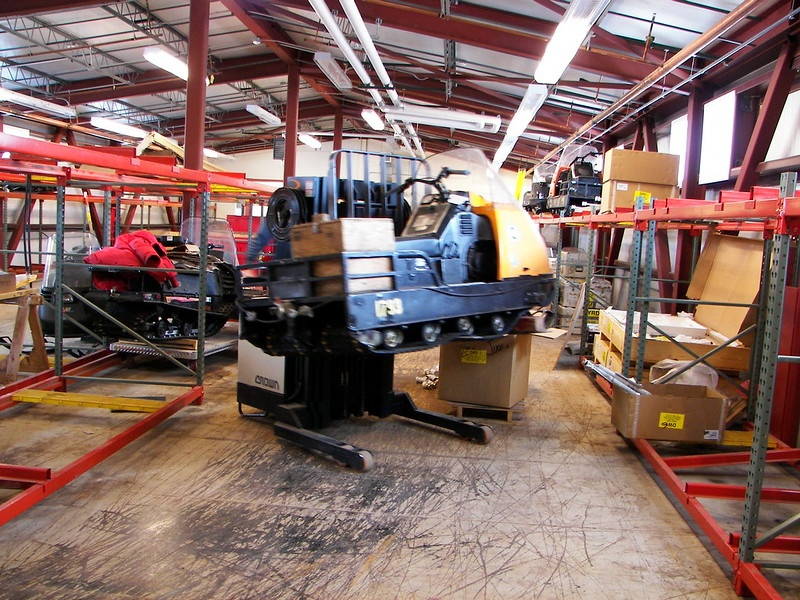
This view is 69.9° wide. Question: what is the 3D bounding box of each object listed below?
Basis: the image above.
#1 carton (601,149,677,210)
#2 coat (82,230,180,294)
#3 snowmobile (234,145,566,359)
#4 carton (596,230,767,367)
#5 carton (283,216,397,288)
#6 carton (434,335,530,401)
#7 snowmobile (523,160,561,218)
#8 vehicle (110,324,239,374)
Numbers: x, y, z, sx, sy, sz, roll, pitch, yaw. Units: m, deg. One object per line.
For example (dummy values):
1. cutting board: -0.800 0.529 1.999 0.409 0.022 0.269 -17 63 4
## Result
1. carton: 3.570 -1.779 8.882 1.604 0.851 0.507 -5 7 -31
2. coat: -3.402 -0.451 7.211 1.235 0.377 0.916 -8 20 -43
3. snowmobile: -0.022 -0.636 6.338 2.233 1.599 3.556 22 20 39
4. carton: 3.419 0.184 7.204 1.696 1.430 1.836 -11 24 1
5. carton: -0.584 -0.478 5.340 0.462 0.387 0.780 -7 7 -38
6. carton: 0.970 0.789 7.036 1.179 0.730 1.095 5 5 33
7. snowmobile: 3.274 -2.846 14.268 1.437 1.233 1.531 1 24 7
8. vehicle: -3.517 0.657 8.108 1.353 0.134 1.297 -11 -2 35
